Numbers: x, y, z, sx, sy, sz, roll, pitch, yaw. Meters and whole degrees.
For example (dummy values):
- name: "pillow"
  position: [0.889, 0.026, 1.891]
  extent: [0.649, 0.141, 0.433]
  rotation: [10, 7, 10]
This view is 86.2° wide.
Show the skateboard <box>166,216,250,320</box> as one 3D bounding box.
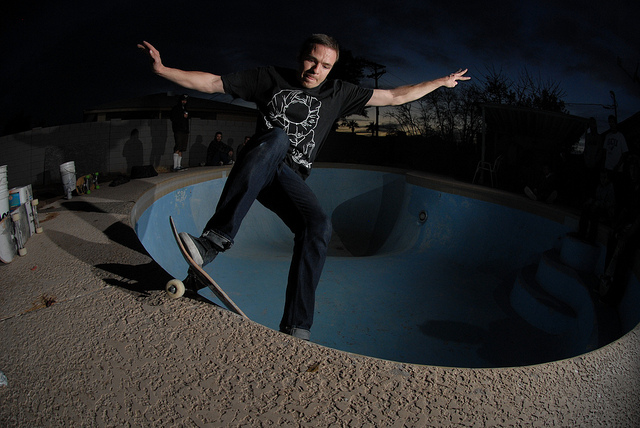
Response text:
- name: "skateboard"
  position: [-1.269, 0.629, 3.869]
  extent: [0.384, 1.603, 0.291]
  rotation: [-38, 3, 44]

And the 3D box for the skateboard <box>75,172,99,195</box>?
- name: "skateboard"
  position: [-4.419, -0.571, 6.478]
  extent: [0.558, 0.176, 0.395]
  rotation: [18, 11, 43]

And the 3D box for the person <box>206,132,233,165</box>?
- name: "person"
  position: [-3.826, -2.458, 12.990]
  extent: [1.005, 1.269, 0.885]
  rotation: [0, 15, -6]
